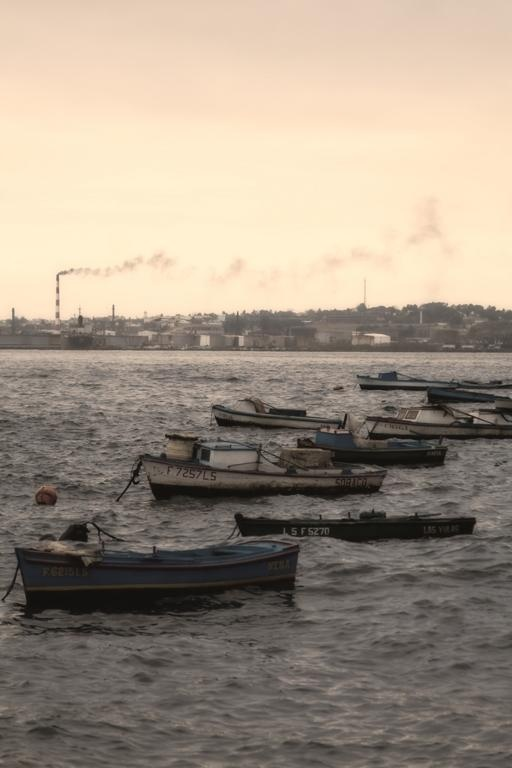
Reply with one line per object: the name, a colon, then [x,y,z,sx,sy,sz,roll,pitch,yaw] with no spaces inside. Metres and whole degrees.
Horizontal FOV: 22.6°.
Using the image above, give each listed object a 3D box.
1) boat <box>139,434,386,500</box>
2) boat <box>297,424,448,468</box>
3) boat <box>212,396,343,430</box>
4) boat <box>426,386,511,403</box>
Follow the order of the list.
boat: [-0.195,2.870,44.826,8.252,2.244,1.450,0,0,-20]
boat: [5.020,2.742,52.581,6.761,1.708,2.298,5,3,-34]
boat: [1.076,1.332,71.862,7.704,2.022,2.447,4,-3,17]
boat: [17.201,0.882,105.713,5.651,1.010,1.295,6,3,14]
